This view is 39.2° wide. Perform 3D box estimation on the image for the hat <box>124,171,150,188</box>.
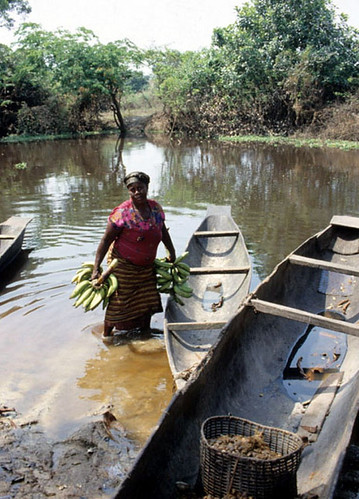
[{"bbox_3d":[-0.389,-0.650,4.687,0.249,0.141,0.243,-7,11,-18],"label":"hat"}]
